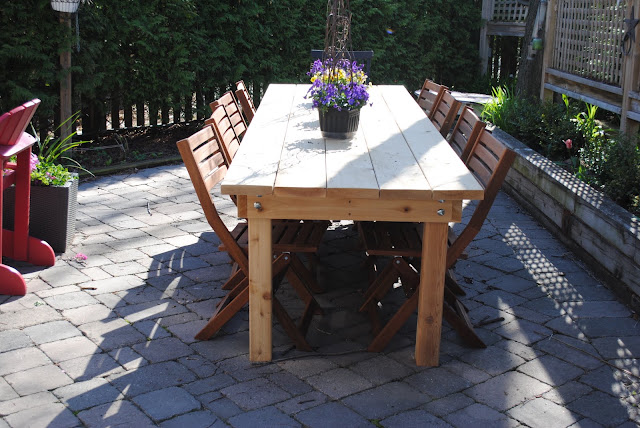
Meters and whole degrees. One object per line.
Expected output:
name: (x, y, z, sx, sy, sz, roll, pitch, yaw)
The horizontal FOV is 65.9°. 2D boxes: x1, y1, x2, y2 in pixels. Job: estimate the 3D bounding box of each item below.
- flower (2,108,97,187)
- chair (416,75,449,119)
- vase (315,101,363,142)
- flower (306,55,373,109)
flower: (-2.889, -0.621, 5.175, 0.635, 0.254, 0.510, 11, 24, -35)
chair: (1.327, -1.348, 5.809, 0.378, 0.482, 0.371, -5, 34, -1)
vase: (0.135, -0.723, 3.831, 0.283, 0.188, 0.279, -12, 21, -34)
flower: (0.121, -1.003, 3.990, 0.492, 0.270, 0.481, -1, 36, -4)
